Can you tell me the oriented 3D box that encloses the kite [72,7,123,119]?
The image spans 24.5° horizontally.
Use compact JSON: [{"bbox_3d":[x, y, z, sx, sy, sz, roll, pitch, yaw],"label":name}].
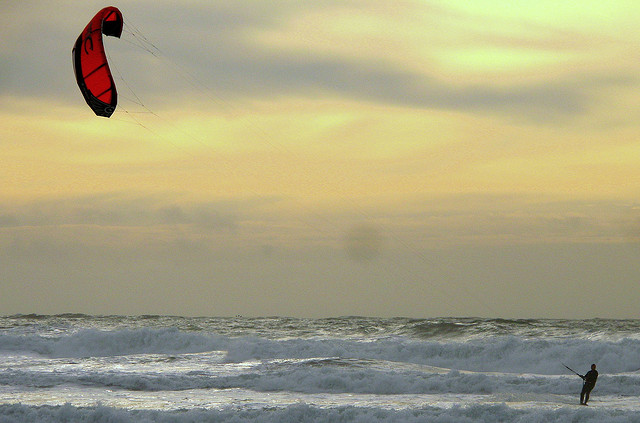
[{"bbox_3d":[-10.057,-6.830,66.833,2.058,4.853,0.644,1,-1,-7],"label":"kite"}]
